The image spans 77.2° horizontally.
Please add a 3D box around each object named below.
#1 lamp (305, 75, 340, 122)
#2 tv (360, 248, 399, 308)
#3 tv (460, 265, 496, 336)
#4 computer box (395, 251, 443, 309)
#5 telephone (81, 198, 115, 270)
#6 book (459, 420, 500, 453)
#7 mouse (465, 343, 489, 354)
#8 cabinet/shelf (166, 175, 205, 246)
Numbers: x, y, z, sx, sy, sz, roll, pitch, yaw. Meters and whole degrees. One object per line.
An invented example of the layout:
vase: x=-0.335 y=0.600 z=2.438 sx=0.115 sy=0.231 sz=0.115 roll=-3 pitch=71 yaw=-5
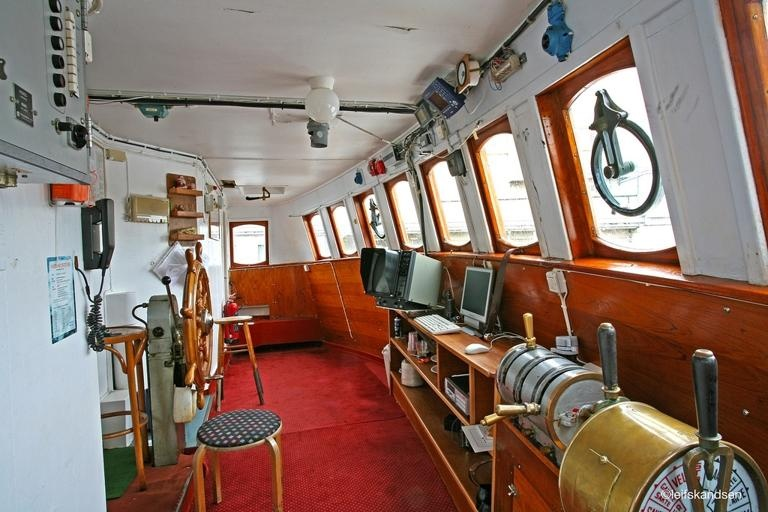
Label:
lamp: x=-0.468 y=-1.184 z=3.723 sx=0.292 sy=0.370 sz=0.305 roll=-2 pitch=1 yaw=10
tv: x=-0.047 y=0.173 z=4.707 sx=0.160 sy=0.472 sz=0.486 roll=12 pitch=-6 yaw=-33
tv: x=0.730 y=0.362 z=3.684 sx=0.157 sy=0.503 sz=0.409 roll=8 pitch=9 yaw=-16
computer box: x=0.276 y=0.249 z=4.667 sx=0.558 sy=0.442 sz=0.536 roll=6 pitch=-11 yaw=24
telephone: x=-1.630 y=-0.116 z=2.777 sx=0.166 sy=0.401 sz=0.200 roll=-5 pitch=7 yaw=-32
book: x=0.606 y=1.179 z=3.048 sx=0.250 sy=0.076 sz=0.254 roll=-12 pitch=26 yaw=-9
mouse: x=0.611 y=0.617 z=3.174 sx=0.109 sy=0.036 sz=0.068 roll=-3 pitch=5 yaw=-16
cabinet/shelf: x=-2.200 y=-0.513 z=5.515 sx=0.268 sy=0.827 sz=0.606 roll=-2 pitch=6 yaw=-1
